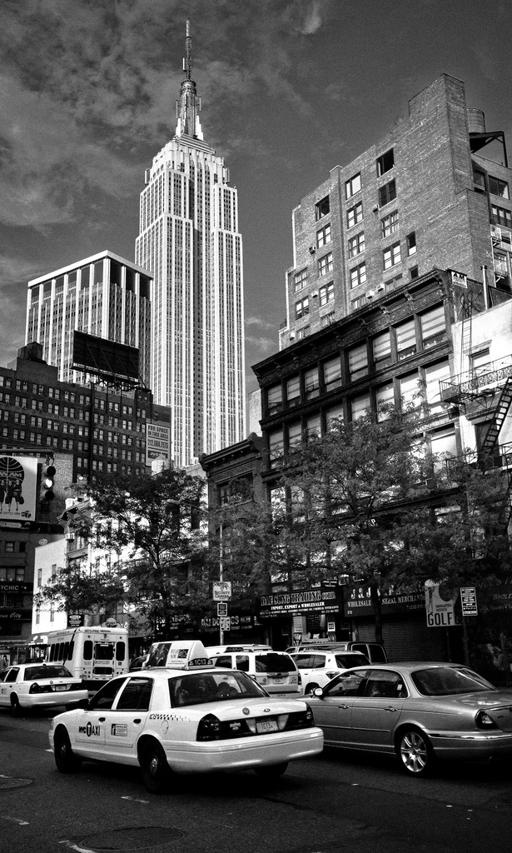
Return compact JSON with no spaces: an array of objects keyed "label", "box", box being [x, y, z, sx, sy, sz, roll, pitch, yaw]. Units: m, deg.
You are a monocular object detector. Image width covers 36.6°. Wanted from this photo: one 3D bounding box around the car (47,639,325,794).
[{"label":"car","box":[-0.958,3.266,9.101,1.332,1.104,3.224,9,-15,-33]}]
